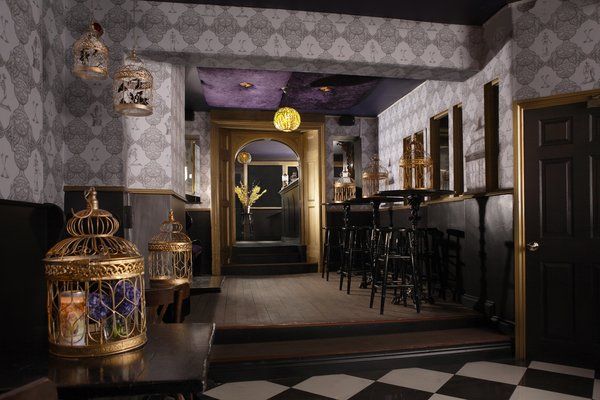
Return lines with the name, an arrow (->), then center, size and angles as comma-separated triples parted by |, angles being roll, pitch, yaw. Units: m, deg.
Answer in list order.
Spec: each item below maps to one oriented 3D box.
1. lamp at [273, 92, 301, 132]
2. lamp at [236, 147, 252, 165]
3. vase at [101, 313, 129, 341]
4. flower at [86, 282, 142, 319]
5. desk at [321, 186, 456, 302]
lamp -> -0.258, -1.465, 8.043 | 0.401, 0.559, 0.888 | 0, 0, -5
lamp -> -1.539, -1.162, 12.608 | 0.500, 0.563, 0.508 | 0, 0, -5
vase -> -1.111, 0.765, 2.773 | 0.154, 0.162, 0.151 | 1, -1, 4
flower -> -1.128, 0.609, 2.780 | 0.207, 0.166, 0.247 | -7, -3, -5
desk -> 1.410, 0.729, 7.103 | 1.222, 1.334, 2.715 | 5, 2, 38
